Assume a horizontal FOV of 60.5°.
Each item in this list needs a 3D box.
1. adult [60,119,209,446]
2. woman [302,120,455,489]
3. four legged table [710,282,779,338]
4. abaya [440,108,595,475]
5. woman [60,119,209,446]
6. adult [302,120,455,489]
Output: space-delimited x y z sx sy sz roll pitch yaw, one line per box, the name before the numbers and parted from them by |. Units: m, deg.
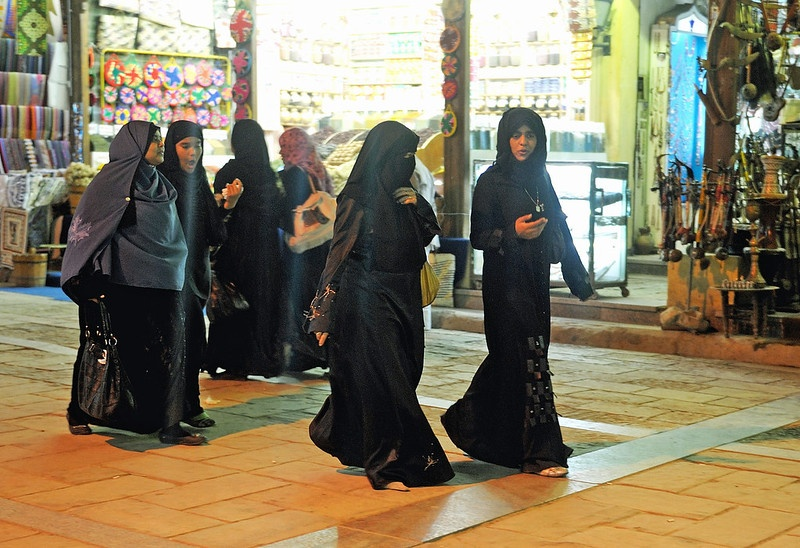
adult | -1.717 0.069 4.391 0.848 2.091 0.394 -1 6 -14
woman | -0.106 0.156 3.767 0.789 2.013 0.426 0 6 -7
four legged table | 3.546 0.343 6.951 0.661 0.460 0.704 1 2 45
abaya | 0.688 0.092 4.098 0.839 2.133 0.575 2 6 12
woman | -1.717 0.069 4.391 0.848 2.091 0.394 -1 6 -14
adult | -0.106 0.156 3.767 0.789 2.013 0.426 0 6 -7
